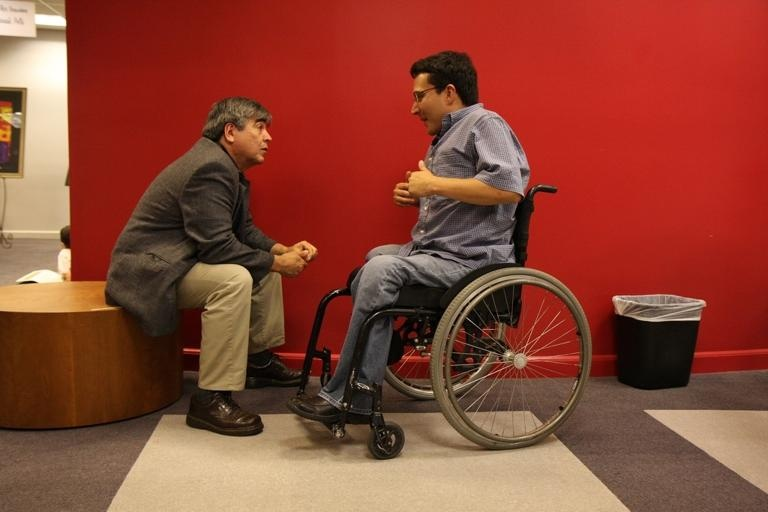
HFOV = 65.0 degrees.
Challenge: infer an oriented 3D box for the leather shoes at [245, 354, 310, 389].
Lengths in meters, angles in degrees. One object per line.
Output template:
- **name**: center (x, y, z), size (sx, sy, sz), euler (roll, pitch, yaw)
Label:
- **leather shoes**: center (-0.641, 0.679, 3.714), size (0.412, 0.236, 0.192), euler (0, 1, -17)

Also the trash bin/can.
- **trash bin/can**: center (1.656, 0.464, 3.882), size (0.530, 0.600, 0.591), euler (-4, 6, -39)

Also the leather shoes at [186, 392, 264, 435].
- **leather shoes**: center (-0.832, 0.805, 3.206), size (0.403, 0.199, 0.186), euler (4, 2, 11)

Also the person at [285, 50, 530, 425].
- **person**: center (0.200, -0.130, 3.129), size (1.018, 1.900, 0.474), euler (2, 6, -13)
